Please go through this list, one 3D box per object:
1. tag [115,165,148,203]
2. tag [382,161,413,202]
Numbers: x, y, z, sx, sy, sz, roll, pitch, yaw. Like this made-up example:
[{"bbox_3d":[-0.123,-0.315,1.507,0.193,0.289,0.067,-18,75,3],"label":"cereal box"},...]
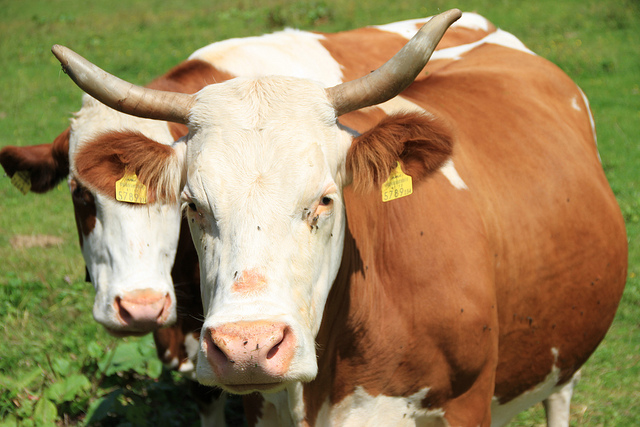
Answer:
[{"bbox_3d":[-1.646,-0.275,7.251,0.263,0.437,0.022,1,10,7],"label":"tag"},{"bbox_3d":[0.673,-0.304,7.258,0.251,0.342,0.013,-14,20,-17],"label":"tag"}]
